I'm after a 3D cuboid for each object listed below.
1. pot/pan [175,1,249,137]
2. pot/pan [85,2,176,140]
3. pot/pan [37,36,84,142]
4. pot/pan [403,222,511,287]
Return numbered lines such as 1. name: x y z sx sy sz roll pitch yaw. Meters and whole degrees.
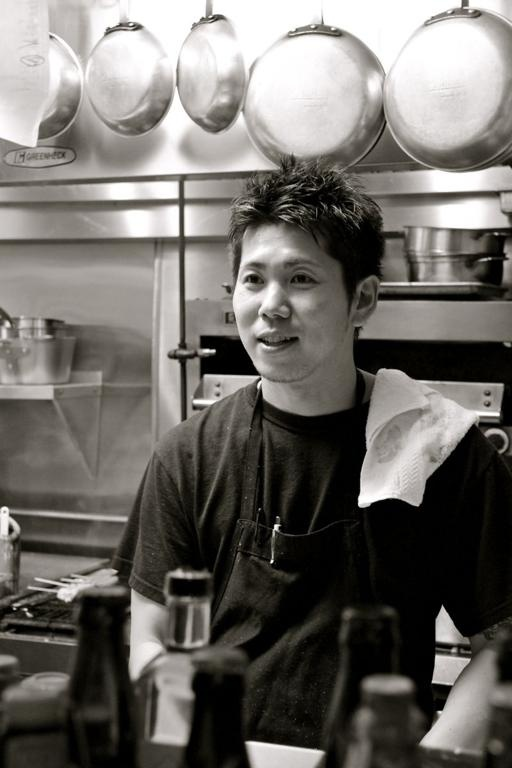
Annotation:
1. pot/pan: -0.114 -0.767 1.907 0.052 0.289 0.192 -5 12 -38
2. pot/pan: -0.327 -0.787 1.973 0.206 0.339 0.055 0 5 7
3. pot/pan: -0.544 -0.806 2.117 0.078 0.257 0.253 -16 21 -39
4. pot/pan: 0.463 -0.300 1.788 0.199 0.096 0.134 4 7 12
